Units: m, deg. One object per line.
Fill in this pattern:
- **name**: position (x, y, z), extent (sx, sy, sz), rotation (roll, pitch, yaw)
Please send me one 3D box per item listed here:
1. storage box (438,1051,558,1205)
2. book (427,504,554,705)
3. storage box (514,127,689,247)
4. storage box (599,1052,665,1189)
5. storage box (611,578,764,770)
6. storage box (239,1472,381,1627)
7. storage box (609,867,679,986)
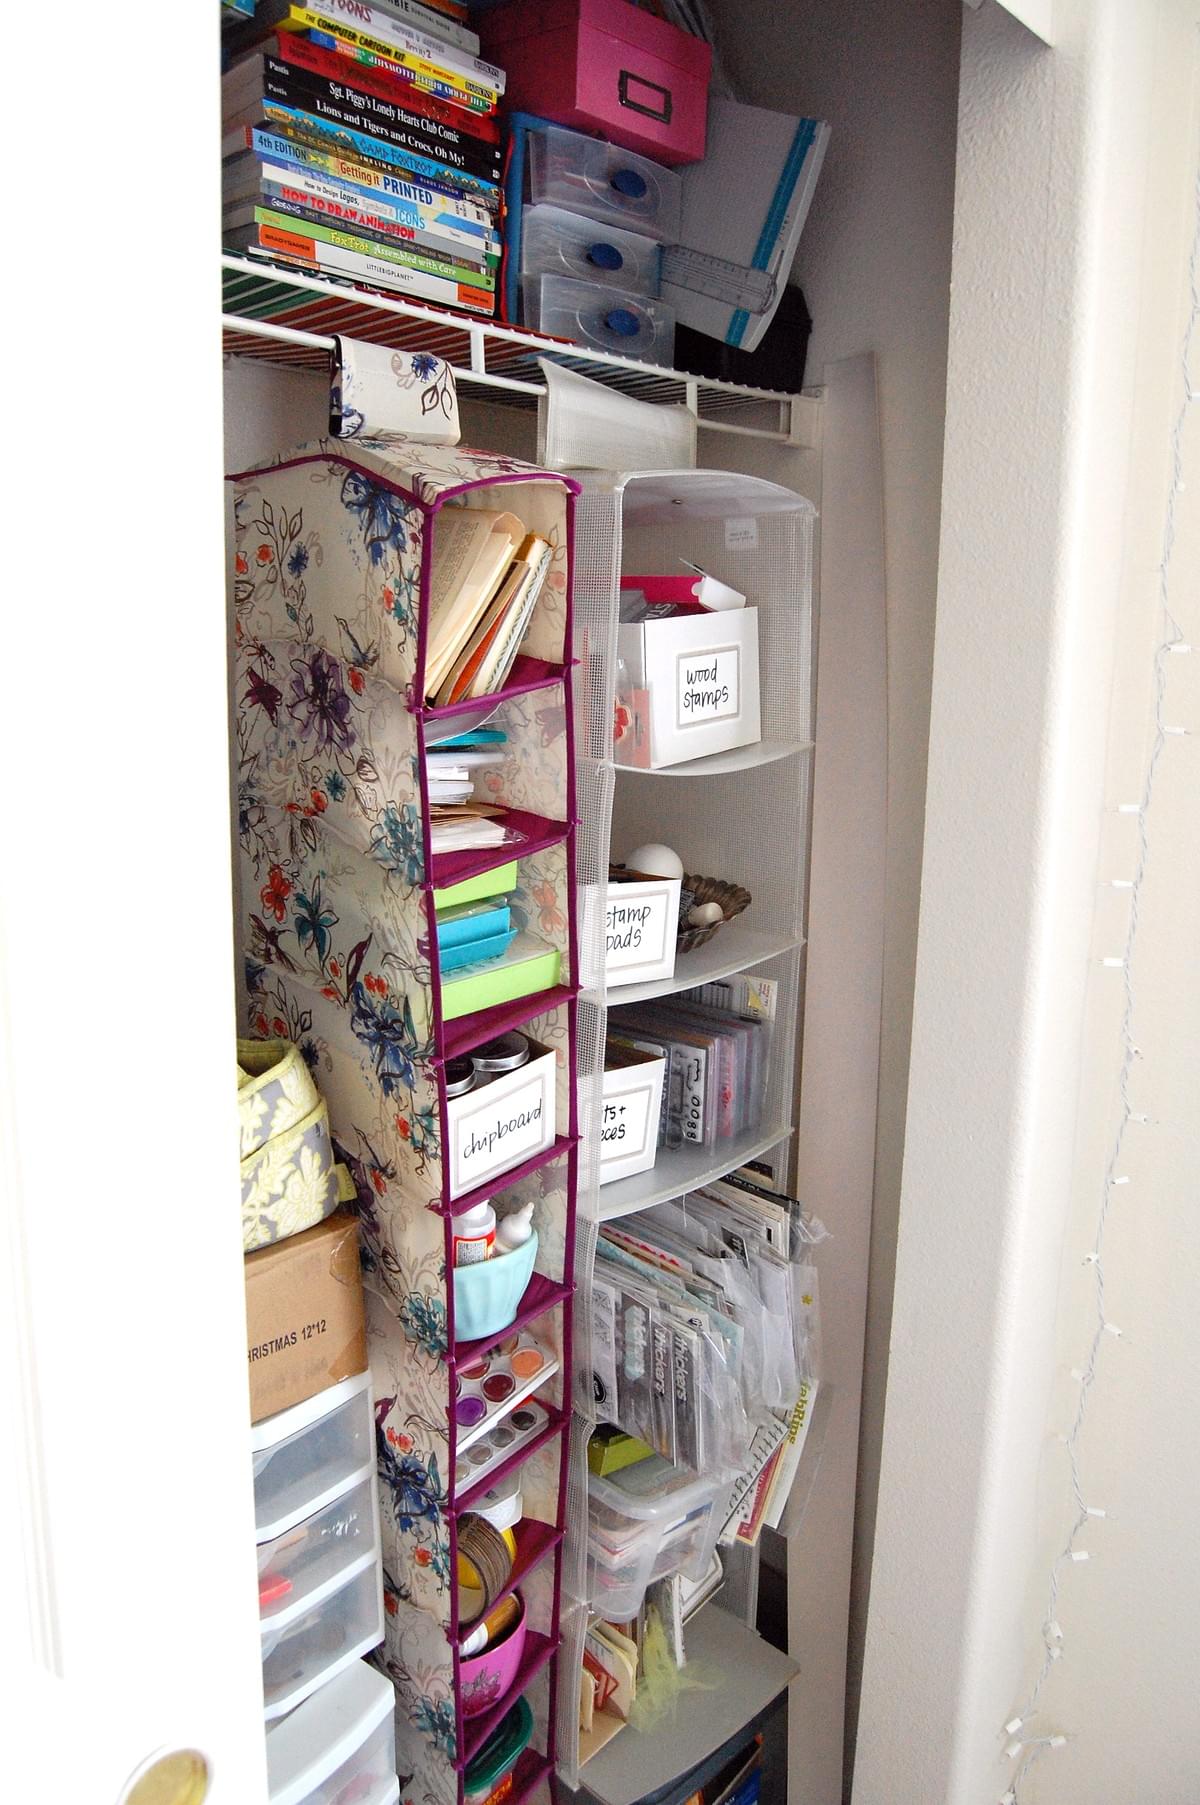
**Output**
- **storage box**: position (-0.092, 0.202, 1.248), extent (0.085, 0.110, 0.161), rotation (6, 16, 27)
- **book**: position (-0.103, -0.247, 1.167), extent (0.062, 0.175, 0.119), rotation (8, 12, -43)
- **storage box**: position (0.009, -0.835, 1.536), extent (0.191, 0.081, 0.095), rotation (-2, 8, -33)
- **storage box**: position (0.037, 0.259, 1.583), extent (0.097, 0.155, 0.030), rotation (-10, 13, -40)
- **storage box**: position (0.098, -0.289, 1.602), extent (0.182, 0.199, 0.145), rotation (-12, 17, -26)
- **storage box**: position (-0.265, 0.600, 1.201), extent (0.067, 0.099, 0.137), rotation (16, 35, 37)
- **storage box**: position (0.052, 0.029, 1.549), extent (0.080, 0.135, 0.192), rotation (-1, 11, 4)
